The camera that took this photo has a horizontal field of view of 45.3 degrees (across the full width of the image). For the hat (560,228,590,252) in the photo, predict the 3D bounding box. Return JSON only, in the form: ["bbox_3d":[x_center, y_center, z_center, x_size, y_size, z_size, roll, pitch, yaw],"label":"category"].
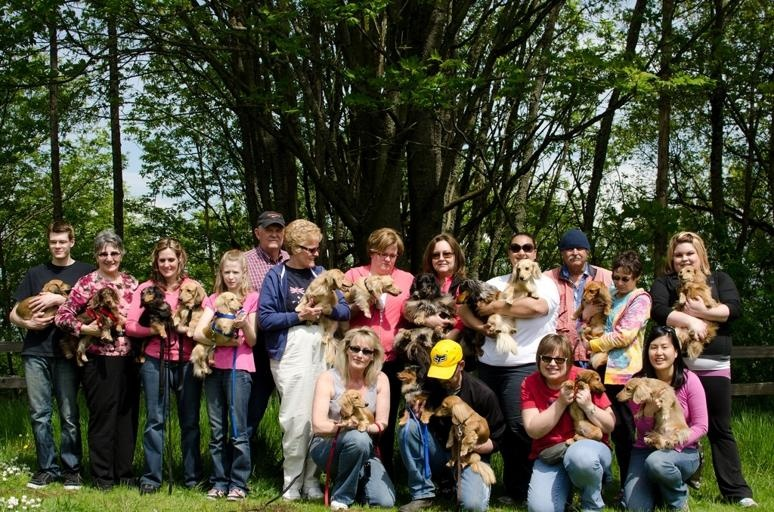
[{"bbox_3d":[3.050,-0.309,15.273,0.390,0.309,0.391,1,-10,7],"label":"hat"}]

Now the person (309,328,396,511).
[{"bbox_3d":[-0.544,2.534,14.512,1.301,2.832,0.459,1,-3,-4],"label":"person"}]

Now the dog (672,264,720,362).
[{"bbox_3d":[4.787,0.928,14.903,0.560,1.605,0.829,-4,-7,3],"label":"dog"}]

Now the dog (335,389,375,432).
[{"bbox_3d":[-0.465,2.453,14.552,0.438,0.649,0.696,5,3,45],"label":"dog"}]

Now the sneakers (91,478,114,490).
[{"bbox_3d":[-4.623,3.722,15.068,0.272,0.171,0.166,6,-4,-8],"label":"sneakers"}]

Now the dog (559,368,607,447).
[{"bbox_3d":[3.015,2.299,14.150,0.608,1.133,0.434,1,-4,9],"label":"dog"}]

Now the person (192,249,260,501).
[{"bbox_3d":[-2.573,1.892,14.917,0.916,4.011,0.646,1,-3,-3],"label":"person"}]

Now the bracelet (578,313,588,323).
[{"bbox_3d":[3.161,1.034,15.060,0.099,0.102,0.029,-30,-31,21],"label":"bracelet"}]

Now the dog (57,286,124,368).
[{"bbox_3d":[-4.742,0.982,15.170,1.299,0.583,0.737,-34,0,23],"label":"dog"}]

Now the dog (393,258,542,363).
[{"bbox_3d":[1.586,0.795,14.707,1.600,1.021,1.924,6,7,-5],"label":"dog"}]

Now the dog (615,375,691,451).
[{"bbox_3d":[4.144,2.400,14.408,0.868,0.650,1.452,-15,-43,42],"label":"dog"}]

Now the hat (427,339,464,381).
[{"bbox_3d":[0.864,1.554,14.304,0.556,0.363,0.817,2,32,22],"label":"hat"}]

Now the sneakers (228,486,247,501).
[{"bbox_3d":[-2.399,3.795,14.746,0.285,0.197,0.157,2,-4,-8],"label":"sneakers"}]

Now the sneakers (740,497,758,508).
[{"bbox_3d":[5.581,3.844,14.386,0.206,0.069,0.145,0,6,-24],"label":"sneakers"}]

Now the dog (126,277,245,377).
[{"bbox_3d":[-3.113,1.105,15.018,1.366,1.712,0.646,3,-1,11],"label":"dog"}]

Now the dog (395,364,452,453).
[{"bbox_3d":[0.486,2.195,14.470,0.442,0.621,1.333,30,-9,26],"label":"dog"}]

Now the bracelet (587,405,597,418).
[{"bbox_3d":[3.103,2.359,14.043,0.117,0.149,0.072,1,-4,2],"label":"bracelet"}]

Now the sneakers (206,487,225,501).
[{"bbox_3d":[-2.740,3.825,14.814,0.314,0.141,0.125,25,-7,-40],"label":"sneakers"}]
